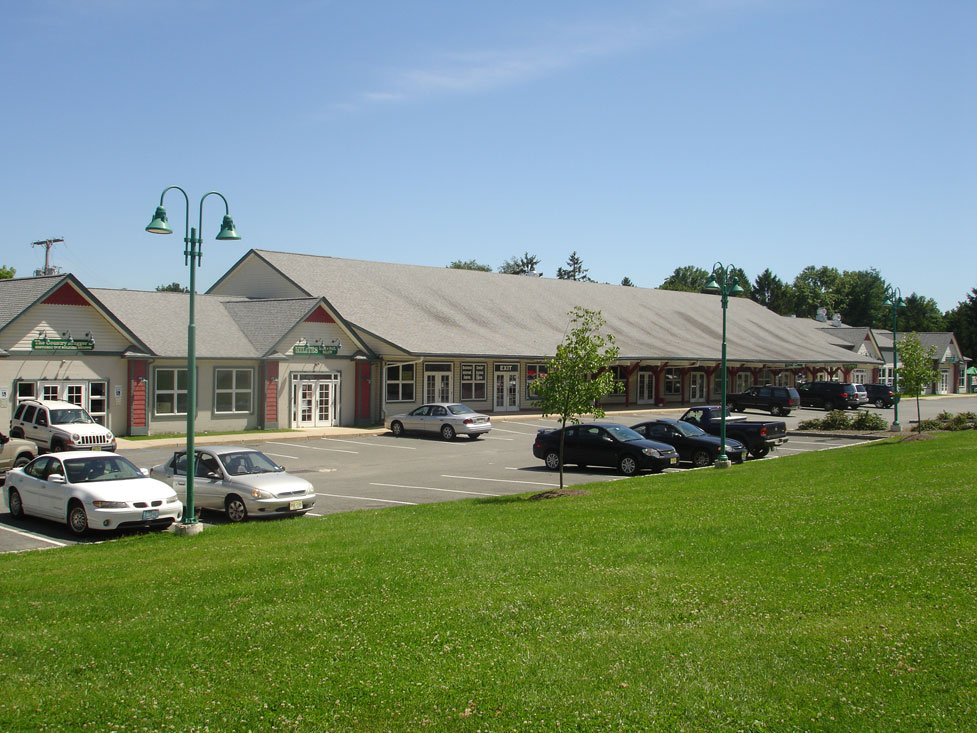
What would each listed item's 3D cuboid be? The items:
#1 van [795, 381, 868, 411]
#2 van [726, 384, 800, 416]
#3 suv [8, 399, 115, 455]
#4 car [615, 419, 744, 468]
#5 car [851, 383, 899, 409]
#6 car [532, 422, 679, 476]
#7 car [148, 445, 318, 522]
[{"bbox_3d":[20.495,1.686,62.922,3.769,1.318,1.876,5,3,37],"label":"van"},{"bbox_3d":[15.279,1.795,58.074,3.002,1.258,1.737,7,4,31],"label":"van"},{"bbox_3d":[-14.016,1.967,34.952,3.604,1.605,1.674,0,-2,41],"label":"suv"},{"bbox_3d":[6.342,2.465,34.132,3.503,1.180,1.498,-1,-1,32],"label":"car"},{"bbox_3d":[23.483,1.802,64.108,2.977,1.104,1.383,5,5,40],"label":"car"},{"bbox_3d":[3.506,2.534,32.547,3.893,1.267,1.657,-3,-4,32],"label":"car"},{"bbox_3d":[-5.833,2.671,24.738,3.474,1.143,1.604,-1,0,36],"label":"car"}]
